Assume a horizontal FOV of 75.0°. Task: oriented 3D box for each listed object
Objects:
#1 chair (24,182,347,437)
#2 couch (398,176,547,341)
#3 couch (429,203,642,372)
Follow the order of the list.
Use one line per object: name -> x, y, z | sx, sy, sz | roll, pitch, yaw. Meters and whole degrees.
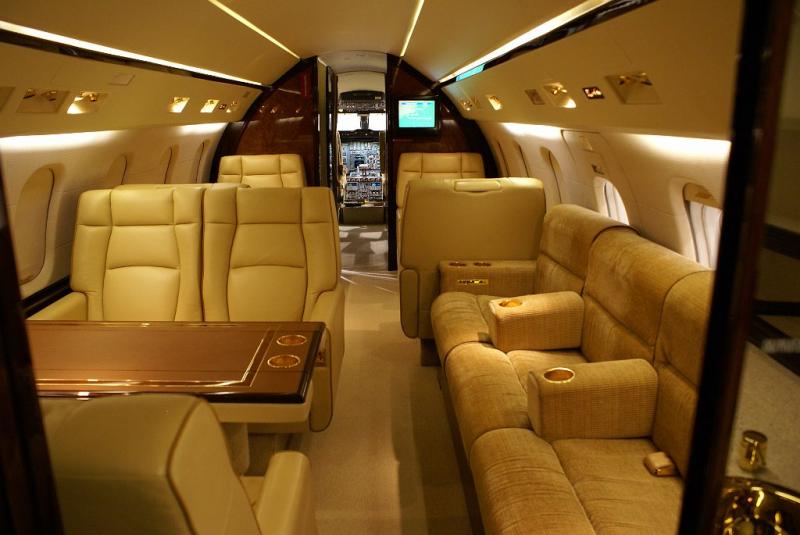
chair -> -0.988, 0.161, 2.567 | 1.502, 1.003, 0.787 | 1, 10, 0
couch -> 0.521, -0.234, 4.572 | 1.505, 1.526, 1.152 | 1, 12, 0
couch -> 0.766, 0.093, 3.493 | 1.164, 1.078, 1.115 | 0, 14, -2
